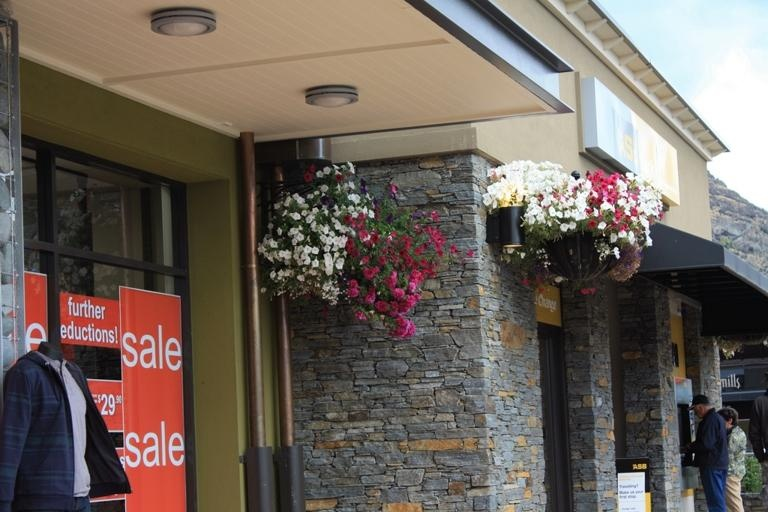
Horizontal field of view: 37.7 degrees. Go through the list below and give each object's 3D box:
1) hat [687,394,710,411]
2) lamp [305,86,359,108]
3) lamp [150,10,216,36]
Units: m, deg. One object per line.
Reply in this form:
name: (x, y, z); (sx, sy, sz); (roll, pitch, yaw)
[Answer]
hat: (4.609, 2.133, 16.433); (0.331, 0.180, 0.246); (-1, -7, 20)
lamp: (-0.510, -1.539, 10.849); (0.528, 0.112, 0.343); (-3, -14, -3)
lamp: (-1.696, -1.981, 9.531); (0.304, 0.105, 0.291); (1, -6, -11)
